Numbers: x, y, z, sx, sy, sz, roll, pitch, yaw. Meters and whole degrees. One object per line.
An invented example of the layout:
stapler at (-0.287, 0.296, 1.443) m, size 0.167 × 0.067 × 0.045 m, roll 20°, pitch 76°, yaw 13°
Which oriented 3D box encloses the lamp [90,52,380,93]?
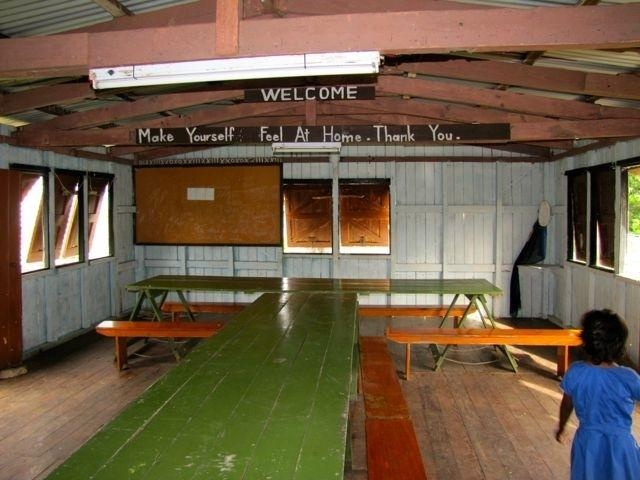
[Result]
lamp at (-0.781, -1.519, 4.889) m, size 2.628 × 0.266 × 0.151 m, roll 0°, pitch 2°, yaw 5°
